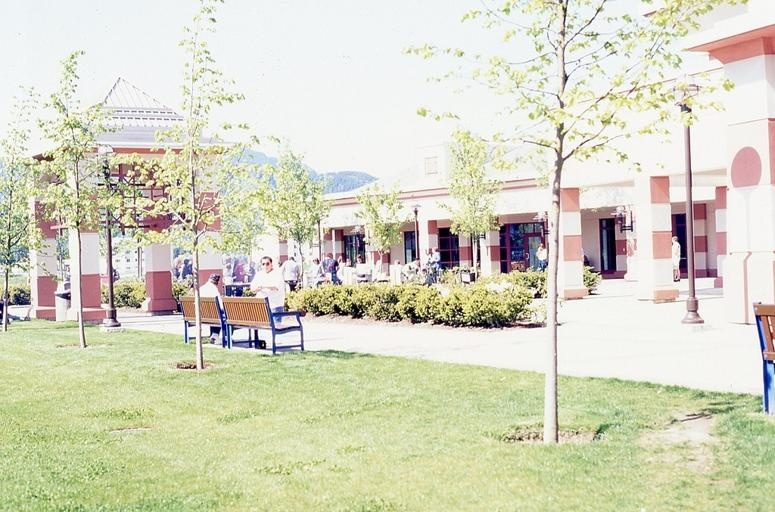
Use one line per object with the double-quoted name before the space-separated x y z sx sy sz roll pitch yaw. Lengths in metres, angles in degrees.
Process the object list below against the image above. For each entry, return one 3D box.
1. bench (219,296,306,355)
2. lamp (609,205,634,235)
"bench" -3.148 1.567 18.600 0.795 1.101 2.091 3 -3 23
"lamp" 12.995 -2.075 44.029 1.327 2.125 1.422 2 -2 -32
